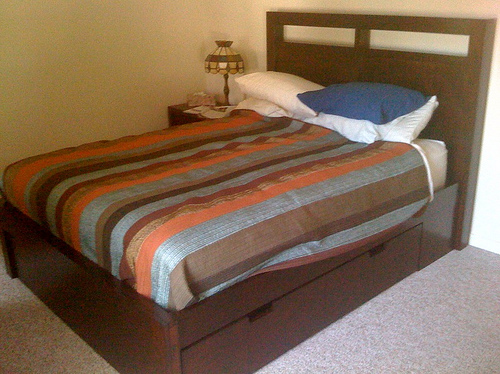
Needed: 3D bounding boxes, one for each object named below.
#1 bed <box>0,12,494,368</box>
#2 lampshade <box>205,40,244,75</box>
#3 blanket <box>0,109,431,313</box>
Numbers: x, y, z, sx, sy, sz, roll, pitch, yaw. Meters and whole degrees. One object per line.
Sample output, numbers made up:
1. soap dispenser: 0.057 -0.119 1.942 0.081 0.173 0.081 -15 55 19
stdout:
1. bed: 0.205 0.014 2.833 2.888 1.587 2.217 -21 31 -39
2. lampshade: -0.199 -1.210 3.760 0.397 0.328 0.352 -1 24 1
3. blanket: 0.019 0.017 2.038 1.389 0.307 1.384 -22 34 -37
